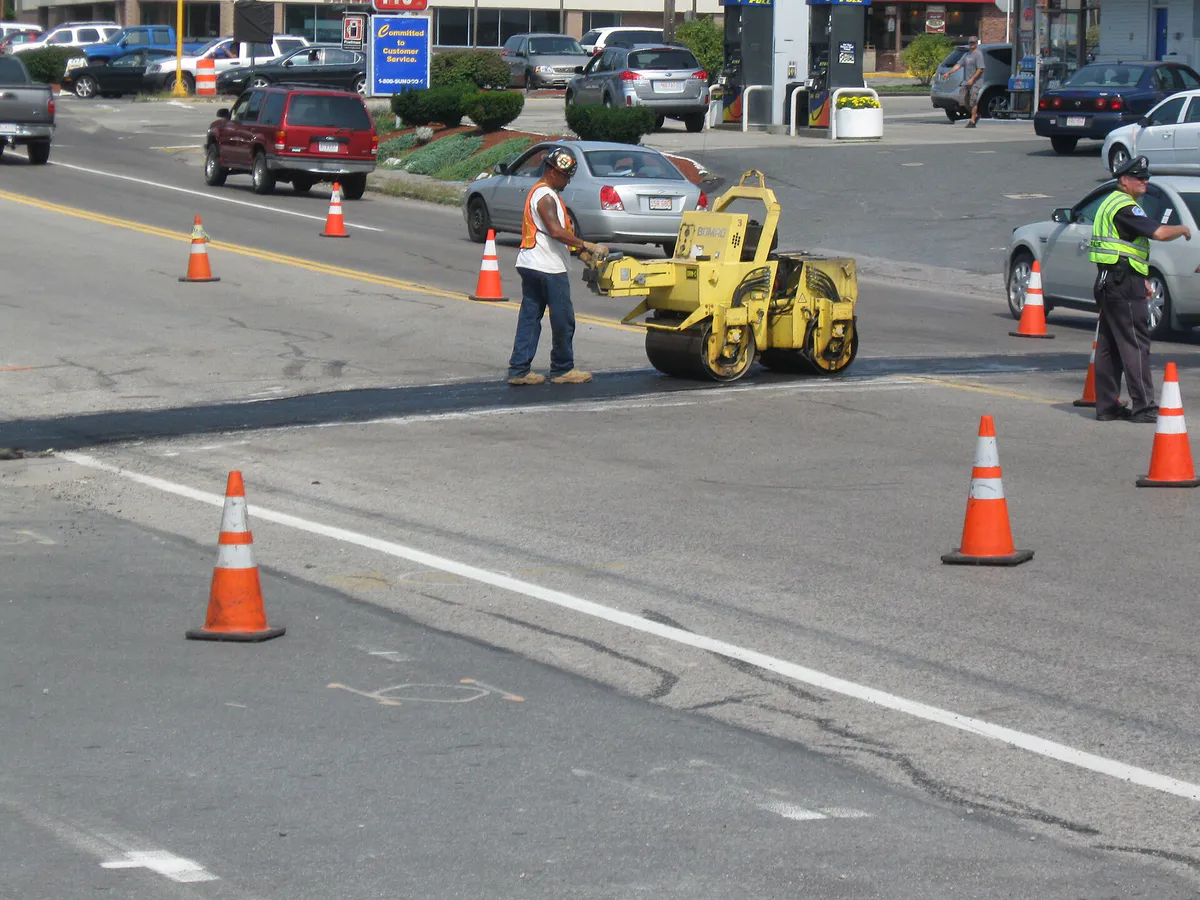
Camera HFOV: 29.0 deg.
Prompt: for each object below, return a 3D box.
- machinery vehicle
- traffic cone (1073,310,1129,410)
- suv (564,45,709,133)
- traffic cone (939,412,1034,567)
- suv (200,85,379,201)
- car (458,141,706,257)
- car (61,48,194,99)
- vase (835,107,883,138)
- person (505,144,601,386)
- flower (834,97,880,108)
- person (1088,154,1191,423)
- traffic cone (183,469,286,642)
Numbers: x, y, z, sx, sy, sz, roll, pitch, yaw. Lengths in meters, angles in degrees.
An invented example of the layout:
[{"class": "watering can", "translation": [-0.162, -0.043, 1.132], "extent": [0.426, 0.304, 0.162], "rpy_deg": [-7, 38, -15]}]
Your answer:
[{"class": "machinery vehicle", "translation": [1.012, -1.535, 19.913], "extent": [2.598, 1.689, 1.056], "rpy_deg": [-5, 11, -32]}, {"class": "traffic cone", "translation": [4.134, -0.710, 18.842], "extent": [0.440, 0.779, 0.485], "rpy_deg": [-2, 17, -6]}, {"class": "suv", "translation": [0.740, -7.859, 49.584], "extent": [1.876, 1.313, 3.761], "rpy_deg": [-3, 16, -16]}, {"class": "traffic cone", "translation": [2.362, 0.217, 14.132], "extent": [0.705, 0.871, 0.611], "rpy_deg": [0, 5, -13]}, {"class": "suv", "translation": [-5.089, -5.013, 37.536], "extent": [1.932, 1.471, 3.748], "rpy_deg": [-1, 9, -31]}, {"class": "car", "translation": [-0.260, -3.388, 30.643], "extent": [1.876, 1.352, 4.255], "rpy_deg": [-4, 11, -33]}, {"class": "car", "translation": [-13.274, -10.408, 64.540], "extent": [3.409, 1.082, 1.526], "rpy_deg": [1, 8, -5]}, {"class": "vase", "translation": [5.044, -6.485, 45.862], "extent": [0.690, 0.389, 0.671], "rpy_deg": [-2, 6, -17]}, {"class": "person", "translation": [-0.426, -1.543, 19.641], "extent": [0.707, 2.037, 1.207], "rpy_deg": [0, 14, -2]}, {"class": "flower", "translation": [5.076, -6.872, 45.610], "extent": [0.817, 0.266, 0.322], "rpy_deg": [2, 15, 4]}, {"class": "person", "translation": [4.165, -1.271, 18.412], "extent": [1.016, 1.850, 0.975], "rpy_deg": [-5, 12, -27]}, {"class": "traffic cone", "translation": [-2.022, 0.533, 12.741], "extent": [0.465, 0.959, 0.458], "rpy_deg": [1, 5, 2]}]
